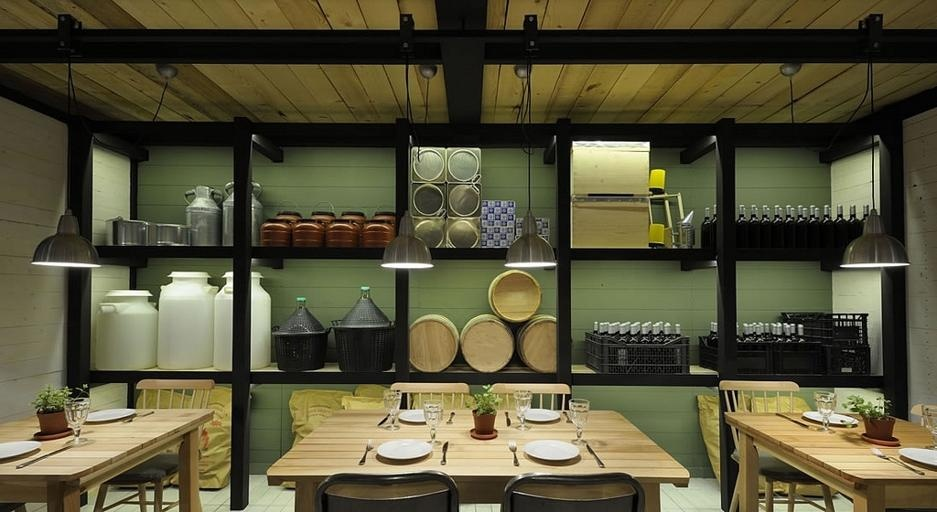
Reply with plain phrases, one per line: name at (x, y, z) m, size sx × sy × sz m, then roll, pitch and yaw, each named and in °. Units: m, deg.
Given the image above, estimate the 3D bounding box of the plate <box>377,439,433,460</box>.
plate at (-0.560, 1.694, 5.842) m, size 0.460 × 0.145 × 0.228 m, roll 0°, pitch -4°, yaw -8°

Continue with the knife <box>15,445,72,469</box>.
knife at (-3.676, 1.737, 5.774) m, size 0.085 × 0.057 × 0.484 m, roll 1°, pitch 11°, yaw 40°

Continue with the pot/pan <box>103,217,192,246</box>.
pot/pan at (-3.400, -0.236, 7.137) m, size 0.608 × 0.181 × 0.413 m, roll 1°, pitch -3°, yaw -11°

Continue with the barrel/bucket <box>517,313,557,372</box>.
barrel/bucket at (0.753, 0.938, 7.344) m, size 0.638 × 0.492 × 0.532 m, roll -8°, pitch 0°, yaw 6°

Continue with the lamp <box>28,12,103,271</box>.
lamp at (-3.808, -1.017, 6.421) m, size 0.507 × 2.220 × 1.168 m, roll 3°, pitch -5°, yaw -31°

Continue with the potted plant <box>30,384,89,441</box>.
potted plant at (-3.782, 1.479, 6.153) m, size 0.472 × 0.330 × 0.480 m, roll -31°, pitch -26°, yaw 34°

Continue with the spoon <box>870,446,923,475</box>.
spoon at (3.667, 1.753, 5.853) m, size 0.117 × 0.057 × 0.547 m, roll -8°, pitch 15°, yaw -19°

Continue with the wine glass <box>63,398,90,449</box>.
wine glass at (-3.515, 1.468, 6.001) m, size 0.164 × 0.394 × 0.325 m, roll 2°, pitch -5°, yaw -28°

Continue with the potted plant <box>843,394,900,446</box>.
potted plant at (3.804, 1.515, 6.250) m, size 0.555 × 0.404 × 0.484 m, roll 1°, pitch -8°, yaw -1°

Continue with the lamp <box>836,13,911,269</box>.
lamp at (3.752, -1.001, 6.254) m, size 0.728 × 2.145 × 0.633 m, roll -1°, pitch 10°, yaw 14°

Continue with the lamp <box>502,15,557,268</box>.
lamp at (0.580, -0.928, 6.162) m, size 0.639 × 1.996 × 0.583 m, roll 0°, pitch 8°, yaw 19°

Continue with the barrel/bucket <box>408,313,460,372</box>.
barrel/bucket at (-0.375, 0.923, 7.327) m, size 0.682 × 0.505 × 0.573 m, roll 9°, pitch 2°, yaw 7°
